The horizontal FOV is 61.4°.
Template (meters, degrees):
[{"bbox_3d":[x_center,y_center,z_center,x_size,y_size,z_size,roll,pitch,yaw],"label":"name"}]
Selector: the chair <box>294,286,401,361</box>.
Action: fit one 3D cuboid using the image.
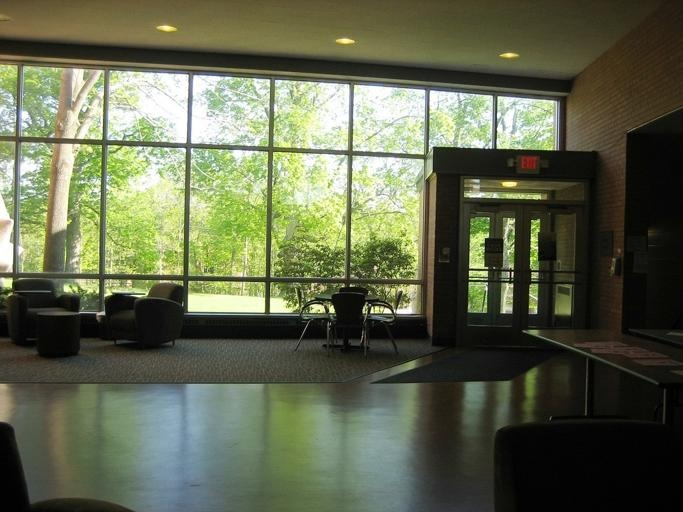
[{"bbox_3d":[0.089,0.950,8.792,1.285,0.734,1.228,0,-1,9],"label":"chair"}]
